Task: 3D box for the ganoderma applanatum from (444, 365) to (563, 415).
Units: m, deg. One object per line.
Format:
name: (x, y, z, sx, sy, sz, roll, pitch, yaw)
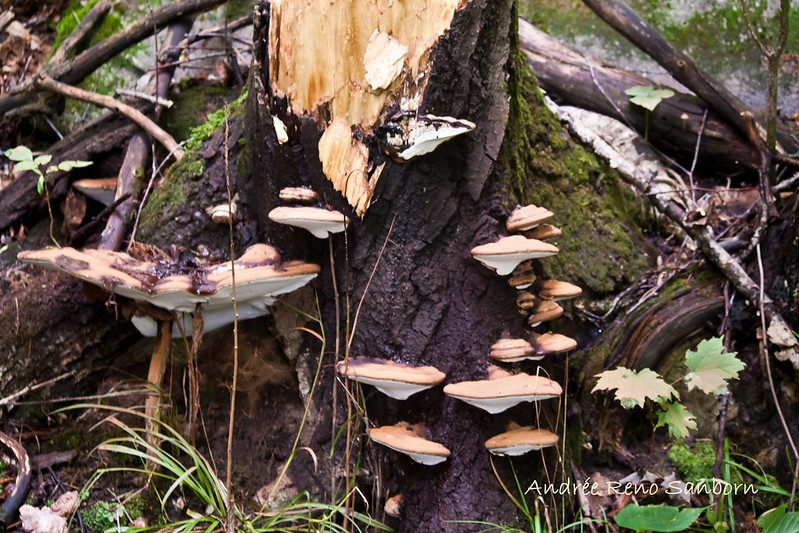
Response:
ganoderma applanatum: (0.774, 0.930, 6.341, 0.452, 0.182, 0.438, 3, 6, 28)
